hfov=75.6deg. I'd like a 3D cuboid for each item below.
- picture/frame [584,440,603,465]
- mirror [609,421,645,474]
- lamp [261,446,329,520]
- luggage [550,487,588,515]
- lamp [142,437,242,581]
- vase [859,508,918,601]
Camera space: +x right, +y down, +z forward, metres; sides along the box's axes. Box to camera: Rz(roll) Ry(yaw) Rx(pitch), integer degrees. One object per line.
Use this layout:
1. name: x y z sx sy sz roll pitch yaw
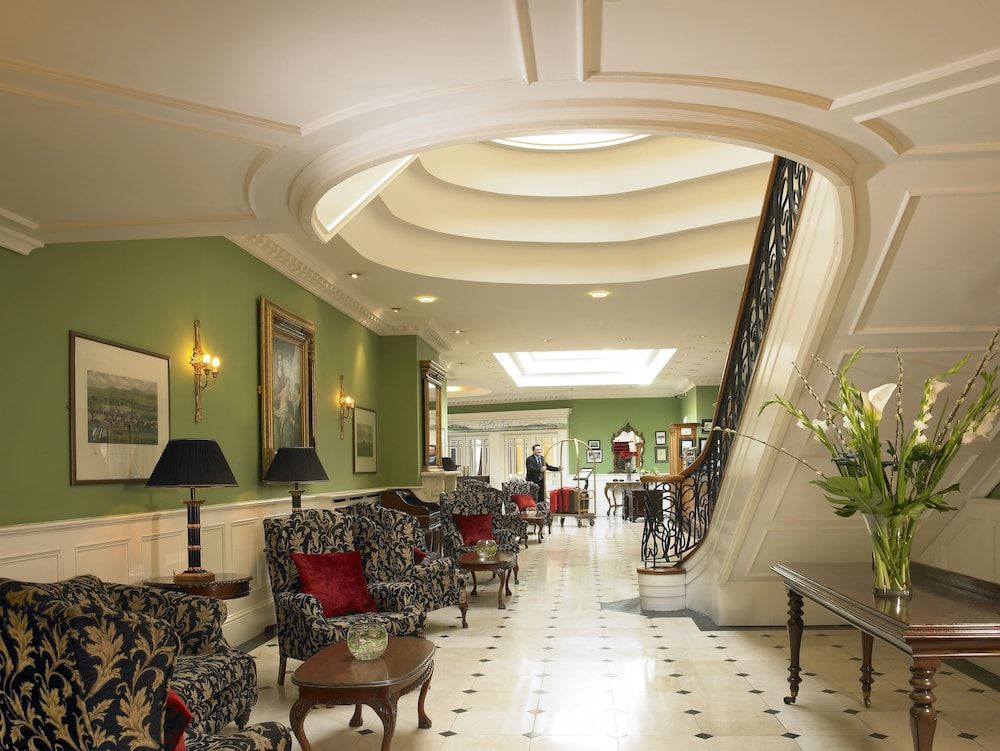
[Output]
1. picture/frame: 3.267 2.646 22.358 0.770 1.190 0.118 0 -4 11
2. mirror: 4.311 2.431 21.597 1.604 2.489 0.187 -1 10 -10
3. lamp: -2.205 1.152 6.994 0.627 0.770 0.654 4 3 21
4. luggage: 1.955 3.570 18.419 0.643 0.757 0.967 -1 -4 19
5. lamp: -2.391 1.050 5.030 0.619 1.079 0.651 -3 -6 19
6. vase: 2.341 1.061 3.853 0.313 0.458 0.325 12 -13 -30
